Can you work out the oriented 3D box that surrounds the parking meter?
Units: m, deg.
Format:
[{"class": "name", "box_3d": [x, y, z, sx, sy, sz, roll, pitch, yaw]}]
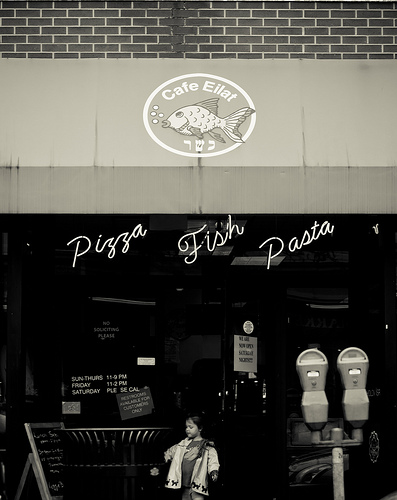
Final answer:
[{"class": "parking meter", "box_3d": [1.267, 1.654, 11.290, 0.680, 1.428, 0.567, -1, -1, 0]}]
